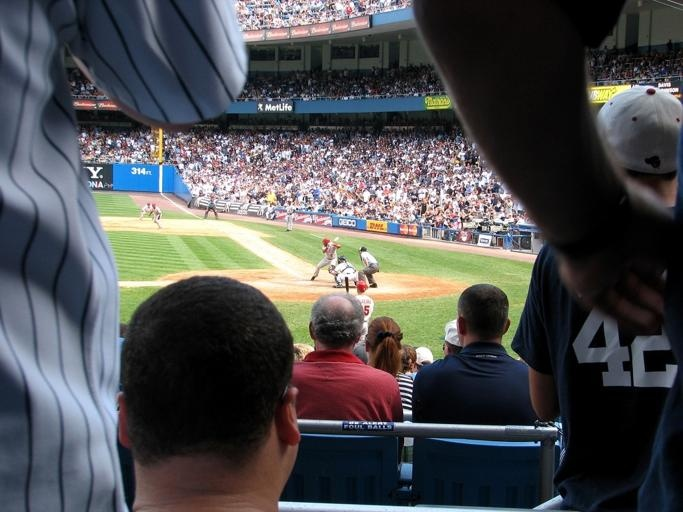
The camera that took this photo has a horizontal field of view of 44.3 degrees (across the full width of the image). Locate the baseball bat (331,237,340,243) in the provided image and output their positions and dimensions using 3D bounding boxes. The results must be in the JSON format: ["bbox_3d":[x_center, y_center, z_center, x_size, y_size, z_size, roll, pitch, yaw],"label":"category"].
[{"bbox_3d":[-0.186,-0.471,24.544,0.097,0.091,0.332,15,-17,-9],"label":"baseball bat"}]

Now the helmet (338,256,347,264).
[{"bbox_3d":[0.002,0.038,17.202,0.128,0.176,0.168,5,-31,8],"label":"helmet"}]

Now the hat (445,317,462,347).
[{"bbox_3d":[0.853,0.591,6.448,0.133,0.125,0.227,3,0,3],"label":"hat"}]

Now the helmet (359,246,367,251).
[{"bbox_3d":[0.451,-0.152,17.528,0.139,0.158,0.119,2,-3,43],"label":"helmet"}]

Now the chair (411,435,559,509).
[{"bbox_3d":[0.637,0.976,3.976,0.499,0.405,0.399,1,0,4],"label":"chair"}]

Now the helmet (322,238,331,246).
[{"bbox_3d":[-0.336,-0.315,18.385,0.153,0.204,0.210,3,24,-2],"label":"helmet"}]

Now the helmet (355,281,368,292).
[{"bbox_3d":[0.344,0.548,14.371,0.139,0.112,0.206,6,26,-10],"label":"helmet"}]
